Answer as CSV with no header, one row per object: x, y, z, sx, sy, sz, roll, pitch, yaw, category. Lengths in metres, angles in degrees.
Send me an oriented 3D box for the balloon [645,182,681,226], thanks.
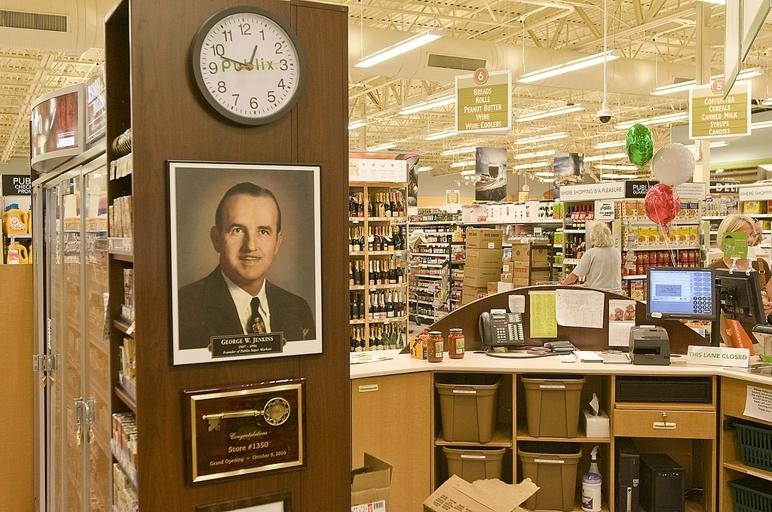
3.464,-0.635,8.120,0.361,0.536,0.359,2,9,26,balloon

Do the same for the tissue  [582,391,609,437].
1.871,1.413,5.755,0.180,0.371,0.370,-1,2,3,tissue 

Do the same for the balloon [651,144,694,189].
3.636,-1.166,8.167,0.548,0.603,0.534,-7,9,-41,balloon

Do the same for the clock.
-0.913,-1.213,4.167,0.774,0.837,0.090,0,2,-8,clock

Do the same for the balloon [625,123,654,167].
3.411,-1.470,8.686,0.333,0.599,0.949,1,9,20,balloon

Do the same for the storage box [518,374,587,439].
1.472,1.296,5.645,0.560,0.467,0.497,0,-3,5,storage box

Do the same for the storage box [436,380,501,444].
0.728,1.365,5.690,0.414,0.372,0.568,0,-3,8,storage box

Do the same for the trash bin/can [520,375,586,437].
1.461,1.302,5.646,0.555,0.462,0.492,0,-3,5,trash bin/can

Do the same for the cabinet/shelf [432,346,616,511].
1.199,1.508,5.606,1.288,1.224,0.471,0,-3,2,cabinet/shelf

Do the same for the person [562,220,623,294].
2.836,0.037,8.858,0.797,0.946,0.334,-6,9,-27,person

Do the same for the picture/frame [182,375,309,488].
-0.946,1.123,4.190,0.701,0.578,0.095,-3,4,-17,picture/frame

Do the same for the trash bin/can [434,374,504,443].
0.765,1.343,5.913,0.486,0.422,0.577,0,-1,8,trash bin/can

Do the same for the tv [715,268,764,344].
3.201,0.447,5.873,0.214,0.574,0.610,-9,13,-7,tv

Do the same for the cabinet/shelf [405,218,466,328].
1.116,0.429,14.548,0.823,2.500,2.508,-1,2,-14,cabinet/shelf

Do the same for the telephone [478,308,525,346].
1.095,0.678,6.063,0.426,0.337,0.232,-1,8,7,telephone
